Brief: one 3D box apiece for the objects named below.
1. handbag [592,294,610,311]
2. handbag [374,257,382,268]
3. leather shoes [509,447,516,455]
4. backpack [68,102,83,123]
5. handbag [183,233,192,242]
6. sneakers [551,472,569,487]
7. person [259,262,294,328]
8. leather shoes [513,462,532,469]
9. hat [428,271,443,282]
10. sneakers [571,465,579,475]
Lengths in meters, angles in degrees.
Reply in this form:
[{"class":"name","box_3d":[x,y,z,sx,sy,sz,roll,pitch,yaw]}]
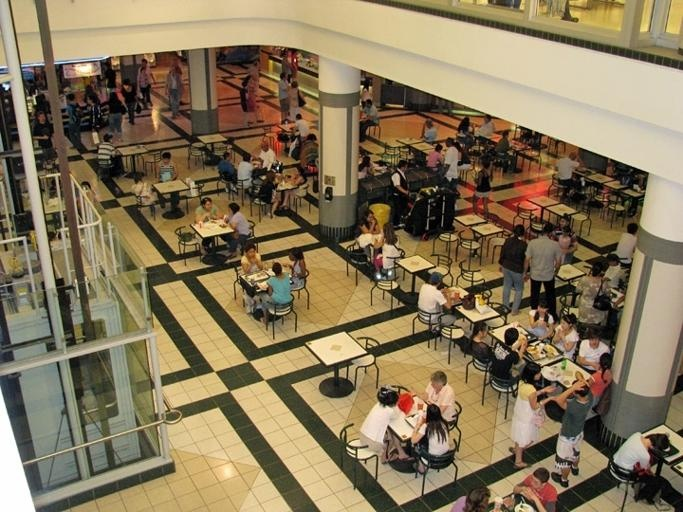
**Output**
[{"class":"handbag","box_3d":[4.568,0.814,10.003,0.291,0.284,0.205,8,25,20]},{"class":"handbag","box_3d":[0.788,0.131,12.191,0.165,0.206,0.200,-4,-7,3]},{"class":"leather shoes","box_3d":[2.552,2.911,8.493,0.043,0.049,0.124,27,27,-53]},{"class":"backpack","box_3d":[-8.672,-4.672,18.473,0.372,0.698,0.571,-13,28,-23]},{"class":"handbag","box_3d":[-3.539,-0.453,13.124,0.159,0.145,0.227,-2,24,-7]},{"class":"sneakers","box_3d":[3.087,3.165,8.063,0.126,0.096,0.242,-30,49,-16]},{"class":"person","box_3d":[-1.253,0.705,10.768,0.495,1.294,0.691,-15,26,-36]},{"class":"leather shoes","box_3d":[2.616,3.036,8.210,0.238,0.064,0.086,-7,55,2]},{"class":"hat","box_3d":[1.747,0.378,10.415,0.181,0.133,0.256,15,44,24]},{"class":"sneakers","box_3d":[3.348,3.087,8.165,0.060,0.159,0.067,-2,14,3]}]
